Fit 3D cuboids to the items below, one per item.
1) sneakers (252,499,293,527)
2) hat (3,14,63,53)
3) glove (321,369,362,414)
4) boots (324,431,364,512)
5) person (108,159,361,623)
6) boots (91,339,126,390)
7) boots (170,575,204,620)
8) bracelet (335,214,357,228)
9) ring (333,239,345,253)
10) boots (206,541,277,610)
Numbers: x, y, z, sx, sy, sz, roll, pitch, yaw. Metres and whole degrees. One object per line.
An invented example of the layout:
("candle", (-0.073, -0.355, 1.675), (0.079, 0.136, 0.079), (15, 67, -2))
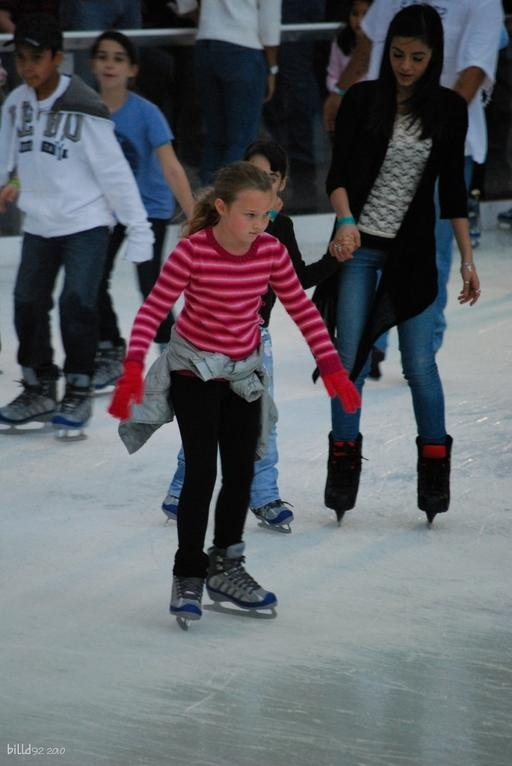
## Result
("sneakers", (0.057, 0.394, 2.311), (0.066, 0.060, 0.130), (-2, 0, -37))
("hat", (-0.798, -1.287, 2.806), (0.157, 0.177, 0.174), (-2, 11, -9))
("glove", (0.190, 0.026, 1.863), (0.077, 0.115, 0.035), (-46, 3, -38))
("boots", (0.273, 0.266, 2.289), (0.103, 0.234, 0.114), (1, -9, 9))
("person", (-0.074, 0.029, 1.745), (0.576, 1.041, 0.299), (-10, 15, -41))
("boots", (-0.645, -0.077, 3.299), (0.091, 0.227, 0.107), (-1, -13, 13))
("boots", (-0.151, 0.481, 1.678), (0.071, 0.101, 0.081), (-1, 11, -5))
("bracelet", (0.252, -0.449, 2.149), (0.040, 0.026, 0.047), (-4, -12, -4))
("ring", (0.230, -0.386, 2.143), (0.018, 0.040, 0.033), (-20, -10, 9))
("boots", (-0.029, 0.455, 1.803), (0.079, 0.145, 0.224), (0, 0, -42))
